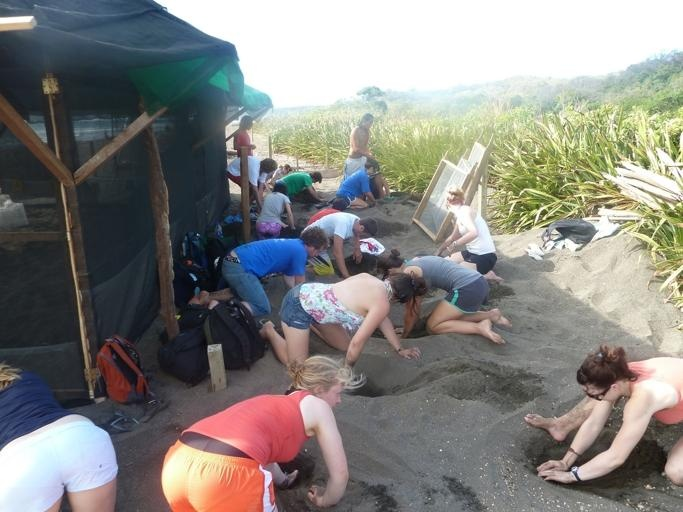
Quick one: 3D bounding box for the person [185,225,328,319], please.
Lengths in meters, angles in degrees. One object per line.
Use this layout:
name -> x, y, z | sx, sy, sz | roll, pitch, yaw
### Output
person -> -1.017, 0.086, 6.117 | 1.498, 0.768, 0.846 | -19, 52, -24

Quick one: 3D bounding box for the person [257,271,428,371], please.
person -> -0.024, 0.590, 5.014 | 1.478, 1.055, 0.793 | 10, 22, 10

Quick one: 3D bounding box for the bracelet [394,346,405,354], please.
bracelet -> 0.566, 0.921, 5.212 | 0.062, 0.025, 0.083 | 3, 11, 12

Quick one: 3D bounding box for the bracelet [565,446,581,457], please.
bracelet -> 1.793, 1.514, 4.126 | 0.094, 0.023, 0.088 | 16, 9, -30

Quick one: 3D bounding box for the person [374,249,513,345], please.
person -> 0.947, 0.364, 5.689 | 1.519, 0.939, 0.641 | 9, 23, 20

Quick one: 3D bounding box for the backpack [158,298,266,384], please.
backpack -> -1.222, 0.810, 5.003 | 0.850, 0.363, 0.780 | -10, 57, -28
